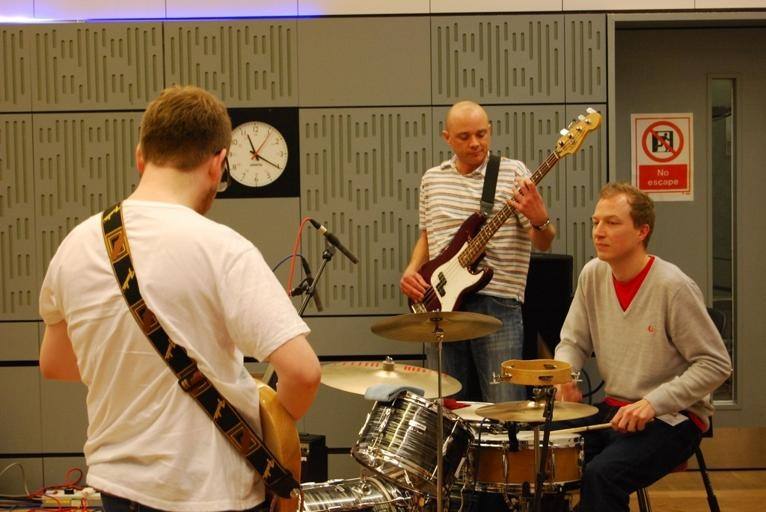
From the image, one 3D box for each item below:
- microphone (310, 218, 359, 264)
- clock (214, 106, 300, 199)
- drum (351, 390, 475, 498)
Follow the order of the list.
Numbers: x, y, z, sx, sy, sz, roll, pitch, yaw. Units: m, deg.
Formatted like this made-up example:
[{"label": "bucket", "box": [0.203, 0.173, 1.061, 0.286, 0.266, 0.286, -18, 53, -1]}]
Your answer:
[{"label": "microphone", "box": [-0.325, -0.107, 8.563, 0.062, 0.073, 0.514, -9, -38, 40]}, {"label": "clock", "box": [-0.890, -0.701, 8.736, 0.570, 0.689, 0.135, -12, -19, -12]}, {"label": "drum", "box": [0.192, 1.158, 7.439, 0.596, 0.426, 0.606, 24, -23, 11]}]
